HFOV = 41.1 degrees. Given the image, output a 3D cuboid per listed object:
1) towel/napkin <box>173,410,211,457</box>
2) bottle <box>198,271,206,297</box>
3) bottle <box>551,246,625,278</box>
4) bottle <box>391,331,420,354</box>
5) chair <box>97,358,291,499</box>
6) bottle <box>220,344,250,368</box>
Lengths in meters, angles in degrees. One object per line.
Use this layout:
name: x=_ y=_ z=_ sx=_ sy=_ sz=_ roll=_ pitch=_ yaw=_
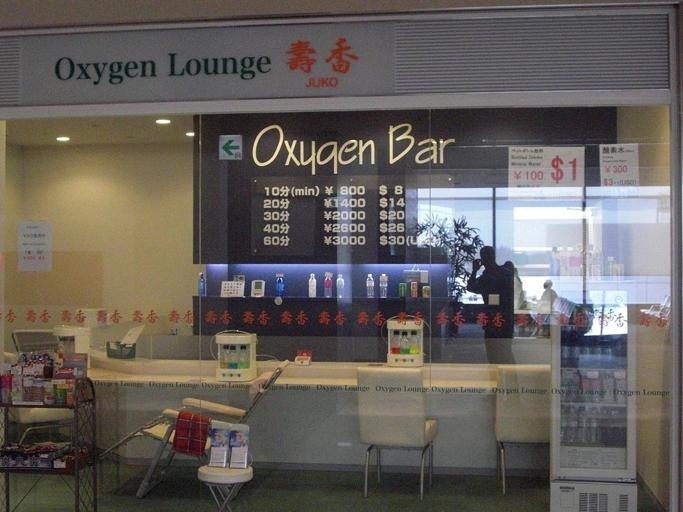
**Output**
towel/napkin: x=-1.011 y=1.188 z=6.132 sx=0.269 sy=0.297 sz=0.029 roll=-2 pitch=-1 yaw=7
bottle: x=-0.928 y=0.187 z=6.045 sx=0.059 sy=0.155 sz=0.027 roll=-2 pitch=-1 yaw=7
bottle: x=1.603 y=0.038 z=5.955 sx=0.454 sy=0.187 sz=0.078 roll=-1 pitch=-1 yaw=-3
bottle: x=0.419 y=0.573 z=6.027 sx=0.196 sy=0.159 sz=0.043 roll=-1 pitch=-1 yaw=-5
chair: x=-0.996 y=1.183 z=6.453 sx=1.182 sy=0.821 sz=0.705 roll=2 pitch=-5 yaw=5
bottle: x=-0.718 y=0.673 z=6.095 sx=0.203 sy=0.160 sz=0.051 roll=-1 pitch=-1 yaw=-3
